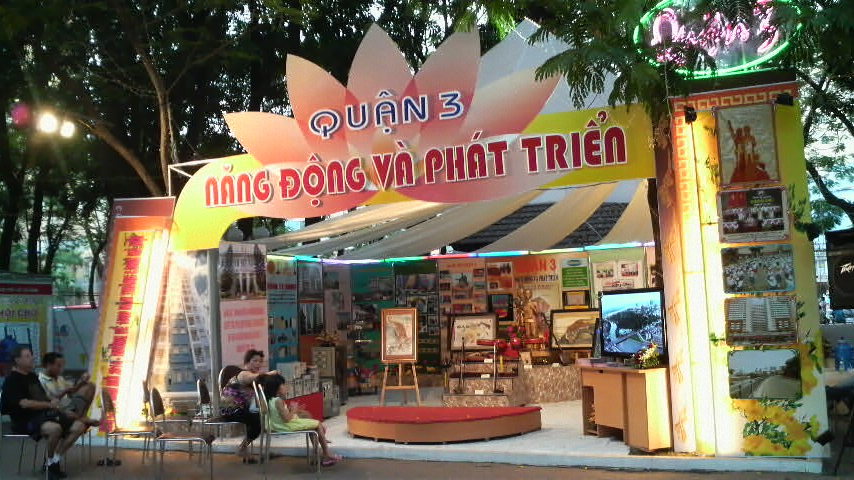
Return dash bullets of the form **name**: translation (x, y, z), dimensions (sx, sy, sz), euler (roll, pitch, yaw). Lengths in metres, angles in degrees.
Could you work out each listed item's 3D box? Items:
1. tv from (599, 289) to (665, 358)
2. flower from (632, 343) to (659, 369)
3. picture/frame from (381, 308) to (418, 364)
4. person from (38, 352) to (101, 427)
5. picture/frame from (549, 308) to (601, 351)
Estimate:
- **tv**: translation (3.842, 1.544, 14.458), dimensions (1.303, 1.228, 0.141), euler (-3, -7, 38)
- **flower**: translation (3.959, 2.080, 14.094), dimensions (0.417, 0.158, 0.415), euler (-2, -3, -29)
- **picture/frame**: translation (-0.643, 2.149, 17.712), dimensions (0.761, 1.266, 0.306), euler (-2, -13, 8)
- **person**: translation (-6.893, 2.827, 15.209), dimensions (1.258, 1.931, 0.866), euler (-2, -4, 0)
- **picture/frame**: translation (3.648, 2.207, 19.459), dimensions (1.157, 0.996, 0.202), euler (-3, -13, 10)
